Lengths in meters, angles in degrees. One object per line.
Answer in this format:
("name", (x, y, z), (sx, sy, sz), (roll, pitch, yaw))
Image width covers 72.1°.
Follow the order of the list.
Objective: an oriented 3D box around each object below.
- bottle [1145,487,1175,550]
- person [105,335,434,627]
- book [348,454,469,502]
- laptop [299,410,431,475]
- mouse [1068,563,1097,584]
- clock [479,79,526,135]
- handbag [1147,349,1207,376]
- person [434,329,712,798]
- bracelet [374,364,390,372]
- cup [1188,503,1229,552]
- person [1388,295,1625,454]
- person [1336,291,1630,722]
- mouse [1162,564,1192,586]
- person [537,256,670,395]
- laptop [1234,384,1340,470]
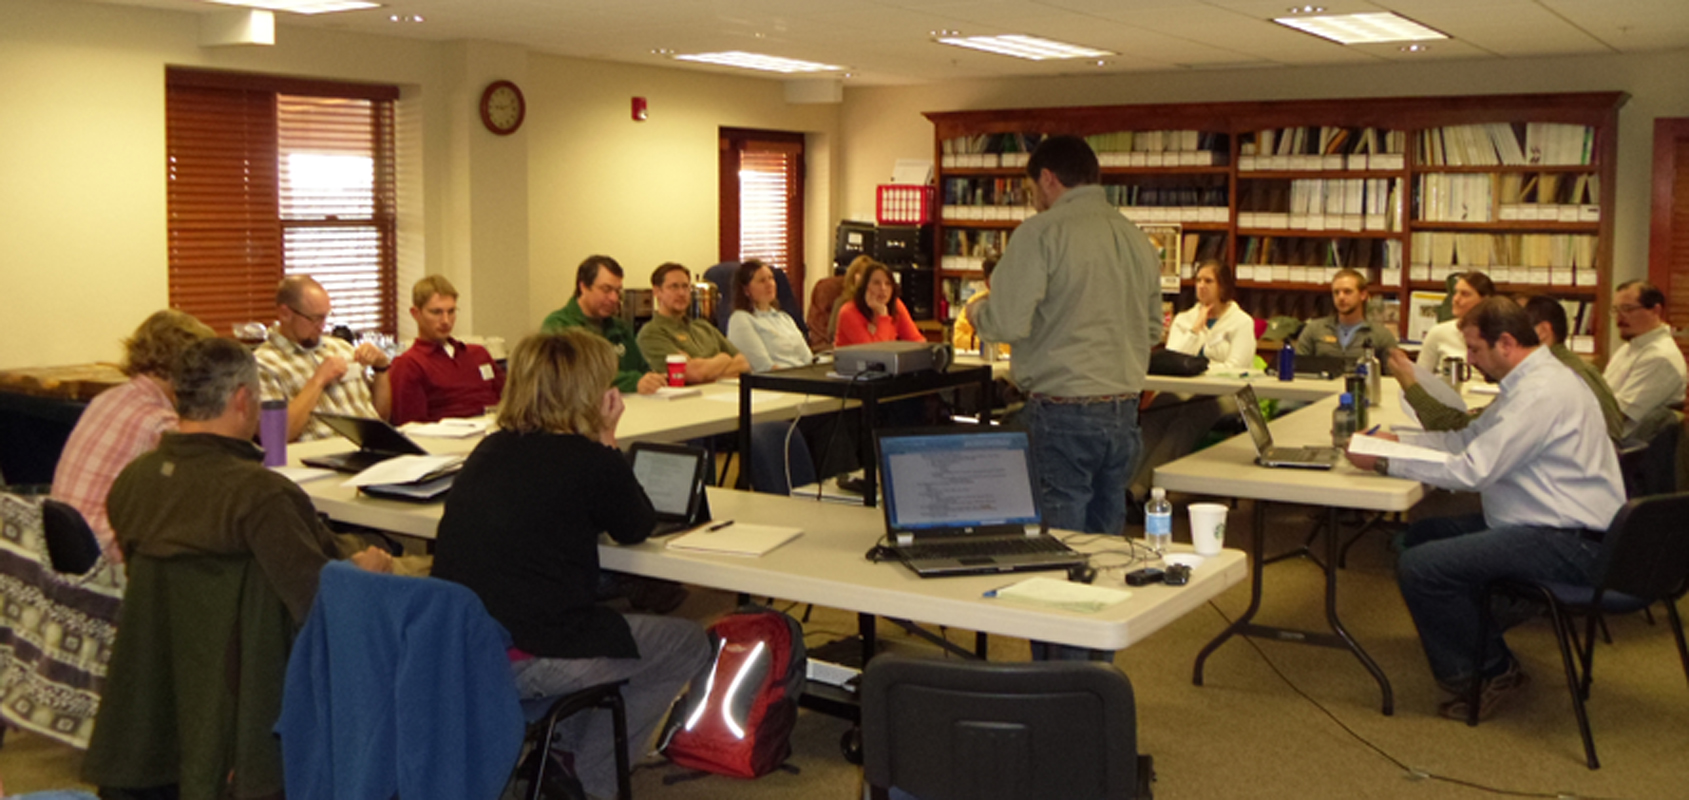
("bottle", (1.732, 0.643, 6.371), (0.114, 0.268, 0.375), (2, 10, 19))
("person", (-3.250, 0.426, 6.105), (1.286, 1.455, 0.502), (1, 11, 13))
("book", (-2.499, 0.452, 6.593), (0.427, 0.107, 0.384), (6, 16, 21))
("laptop", (-2.839, 0.263, 6.925), (0.590, 0.229, 0.431), (3, 7, 26))
("mouse", (1.225, 0.891, 5.951), (0.118, 0.066, 0.107), (0, -1, 1))
("clock", (-3.250, -2.742, 10.980), (0.094, 0.504, 0.433), (8, 14, 42))
("handbag", (2.676, -0.343, 9.279), (0.349, 0.101, 0.342), (4, 6, 32))
("person", (-1.457, 0.913, 6.122), (1.303, 2.514, 0.507), (-5, 11, -17))
("bracelet", (-3.228, -0.212, 8.077), (0.079, 0.048, 0.072), (1, -1, 6))
("cup", (1.955, 0.679, 6.231), (0.170, 0.270, 0.275), (1, 10, 14))
("person", (4.485, -0.145, 7.827), (0.808, 0.524, 1.265), (15, 0, -3))
("person", (3.963, 0.677, 7.020), (1.320, 2.486, 0.592), (1, 11, 17))
("mouse", (1.696, 0.890, 5.912), (0.103, 0.065, 0.119), (1, 3, 18))
("person", (-1.802, -0.564, 8.886), (1.236, 0.962, 0.779), (0, -2, -10))
("laptop", (2.805, 0.216, 7.325), (0.568, 0.356, 0.660), (-1, 8, 23))
